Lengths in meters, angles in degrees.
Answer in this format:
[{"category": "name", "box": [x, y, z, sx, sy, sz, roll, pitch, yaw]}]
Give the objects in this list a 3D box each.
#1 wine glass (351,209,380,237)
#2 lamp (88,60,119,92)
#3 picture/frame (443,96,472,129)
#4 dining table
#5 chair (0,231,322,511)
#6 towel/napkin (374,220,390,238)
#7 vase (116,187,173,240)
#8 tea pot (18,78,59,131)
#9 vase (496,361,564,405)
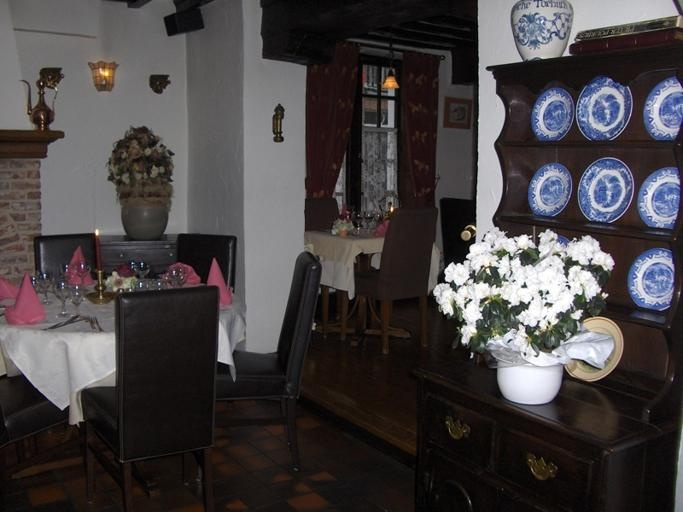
[{"category": "wine glass", "box": [0.248, -0.328, 5.345, 0.241, 0.200, 0.244, -6, 12, -36]}, {"category": "lamp", "box": [-2.010, -1.514, 4.617, 0.231, 0.221, 0.247, 0, 10, -4]}, {"category": "picture/frame", "box": [1.595, -1.997, 7.499, 0.439, 0.425, 0.063, -5, 7, -36]}, {"category": "dining table", "box": [0.233, 0.114, 4.949, 1.009, 0.900, 0.988, -5, 14, -34]}, {"category": "chair", "box": [-0.927, 0.565, 3.062, 1.710, 1.397, 1.182, -1, 7, -42]}, {"category": "towel/napkin", "box": [0.381, -0.249, 5.031, 0.150, 0.064, 0.151, -36, 14, -22]}, {"category": "vase", "box": [-1.657, -0.382, 4.616, 0.389, 0.482, 0.413, -1, 7, -21]}, {"category": "tea pot", "box": [-2.372, -1.192, 4.277, 0.224, 0.389, 0.522, -6, 14, -27]}, {"category": "vase", "box": [0.661, 0.447, 1.877, 0.153, 0.108, 0.158, 2, 11, 5]}]
